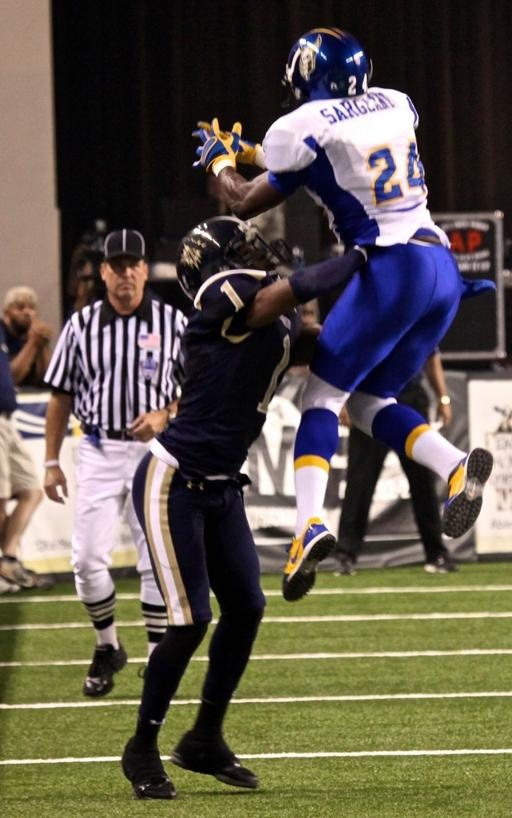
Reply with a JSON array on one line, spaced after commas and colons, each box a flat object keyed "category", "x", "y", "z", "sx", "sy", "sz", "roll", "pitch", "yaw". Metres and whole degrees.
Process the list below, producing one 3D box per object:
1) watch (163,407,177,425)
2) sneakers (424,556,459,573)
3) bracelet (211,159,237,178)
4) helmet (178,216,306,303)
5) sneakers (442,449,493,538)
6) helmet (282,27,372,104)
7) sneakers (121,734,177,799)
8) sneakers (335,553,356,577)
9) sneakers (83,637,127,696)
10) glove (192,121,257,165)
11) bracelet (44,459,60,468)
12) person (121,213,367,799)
[{"category": "watch", "x": -0.290, "y": 0.023, "z": 3.786, "sx": 0.023, "sy": 0.057, "sz": 0.044, "roll": 19, "pitch": 9, "yaw": 37}, {"category": "sneakers", "x": 1.126, "y": 0.956, "z": 6.923, "sx": 0.244, "sy": 0.103, "sz": 0.081, "roll": -11, "pitch": -28, "yaw": 30}, {"category": "bracelet", "x": -0.095, "y": -0.694, "z": 3.303, "sx": 0.064, "sy": 0.054, "sz": 0.054, "roll": -8, "pitch": 5, "yaw": -7}, {"category": "helmet", "x": -0.042, "y": -0.389, "z": 2.911, "sx": 0.299, "sy": 0.180, "sz": 0.212, "roll": -22, "pitch": -3, "yaw": 1}, {"category": "sneakers", "x": 0.577, "y": 0.240, "z": 3.146, "sx": 0.129, "sy": 0.283, "sz": 0.223, "roll": 1, "pitch": 9, "yaw": 10}, {"category": "helmet", "x": 0.217, "y": -0.967, "z": 3.203, "sx": 0.194, "sy": 0.194, "sz": 0.249, "roll": -10, "pitch": 26, "yaw": -17}, {"category": "sneakers", "x": -0.288, "y": 0.910, "z": 2.935, "sx": 0.078, "sy": 0.094, "sz": 0.221, "roll": 1, "pitch": 13, "yaw": -31}, {"category": "sneakers", "x": 0.530, "y": 0.938, "z": 6.858, "sx": 0.172, "sy": 0.159, "sz": 0.099, "roll": 3, "pitch": 5, "yaw": 17}, {"category": "sneakers", "x": -0.562, "y": 0.954, "z": 4.202, "sx": 0.087, "sy": 0.096, "sz": 0.214, "roll": 5, "pitch": 38, "yaw": 11}, {"category": "glove", "x": -0.125, "y": -0.813, "z": 3.394, "sx": 0.070, "sy": 0.177, "sz": 0.190, "roll": 44, "pitch": 36, "yaw": 23}, {"category": "bracelet", "x": -0.792, "y": 0.212, "z": 4.386, "sx": 0.035, "sy": 0.044, "sz": 0.020, "roll": -5, "pitch": 50, "yaw": -8}, {"category": "person", "x": -0.067, "y": 0.264, "z": 2.961, "sx": 0.612, "sy": 1.514, "sz": 0.423, "roll": -2, "pitch": 9, "yaw": -7}]
